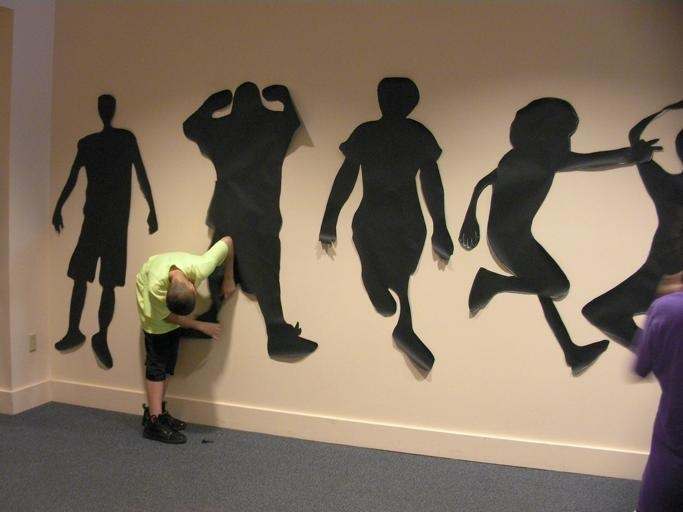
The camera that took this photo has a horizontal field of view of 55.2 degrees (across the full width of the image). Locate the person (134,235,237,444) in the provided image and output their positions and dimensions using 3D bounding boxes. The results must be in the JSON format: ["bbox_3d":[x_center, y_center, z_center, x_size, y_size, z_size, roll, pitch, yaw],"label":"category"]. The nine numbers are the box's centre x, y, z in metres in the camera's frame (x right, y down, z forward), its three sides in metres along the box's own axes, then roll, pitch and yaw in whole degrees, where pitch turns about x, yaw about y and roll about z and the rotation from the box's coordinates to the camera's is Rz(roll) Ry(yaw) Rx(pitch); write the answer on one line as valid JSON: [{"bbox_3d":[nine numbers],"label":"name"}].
[{"bbox_3d":[-1.180,0.589,4.893,0.608,1.507,0.575,11,10,40],"label":"person"}]

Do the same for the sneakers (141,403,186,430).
[{"bbox_3d":[-1.338,1.210,4.914,0.231,0.157,0.092,14,25,-19],"label":"sneakers"}]

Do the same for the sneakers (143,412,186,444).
[{"bbox_3d":[-1.299,1.253,4.868,0.364,0.252,0.156,5,5,5],"label":"sneakers"}]
